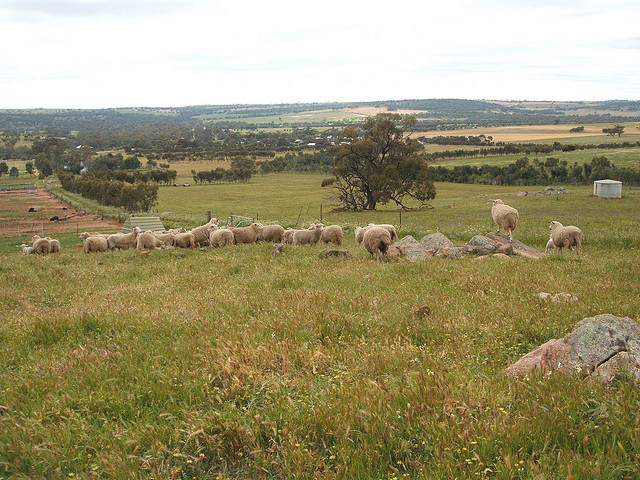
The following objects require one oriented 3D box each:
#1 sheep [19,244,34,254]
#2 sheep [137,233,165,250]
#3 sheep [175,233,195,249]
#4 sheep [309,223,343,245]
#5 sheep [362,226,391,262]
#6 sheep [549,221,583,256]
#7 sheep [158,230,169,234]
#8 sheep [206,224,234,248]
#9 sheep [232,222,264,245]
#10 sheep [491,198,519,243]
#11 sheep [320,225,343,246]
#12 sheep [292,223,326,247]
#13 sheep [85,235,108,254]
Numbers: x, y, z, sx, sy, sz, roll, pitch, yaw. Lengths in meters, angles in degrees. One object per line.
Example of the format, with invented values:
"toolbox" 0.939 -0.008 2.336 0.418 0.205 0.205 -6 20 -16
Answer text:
"sheep" -17.719 0.567 39.842 0.425 0.600 1.040 -5 14 -44
"sheep" -8.795 0.028 34.176 1.320 0.740 0.736 -5 10 -19
"sheep" -6.964 0.048 34.014 1.611 0.750 0.726 6 12 38
"sheep" 0.550 -0.238 32.979 1.121 0.981 0.508 3 10 24
"sheep" 2.150 0.154 26.605 0.893 1.427 2.027 -4 2 -16
"sheep" 10.545 -0.039 28.574 0.742 1.481 2.196 2 4 -16
"sheep" -9.092 -0.464 38.278 0.551 0.183 0.320 8 -14 16
"sheep" -5.057 -0.220 33.667 1.401 0.919 2.755 -6 10 -26
"sheep" -3.828 -0.286 34.250 0.935 0.944 2.264 7 13 42
"sheep" 8.273 -0.987 29.941 0.730 1.814 2.193 0 8 -6
"sheep" 0.636 -0.230 33.052 1.165 1.023 0.734 7 13 41
"sheep" -0.593 -0.242 33.213 1.535 0.977 1.269 -1 9 4
"sheep" -11.504 0.224 33.919 1.275 0.753 0.971 -7 11 -33
